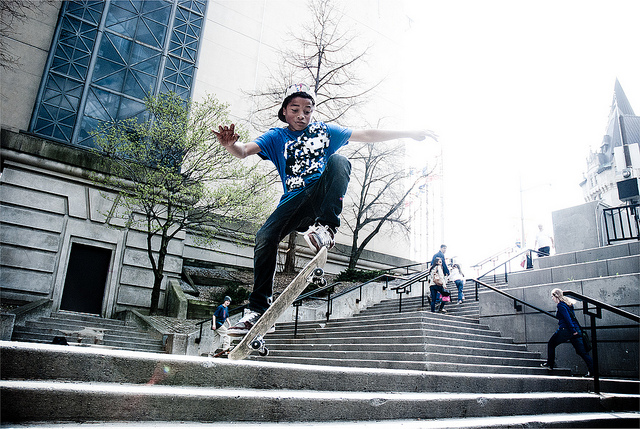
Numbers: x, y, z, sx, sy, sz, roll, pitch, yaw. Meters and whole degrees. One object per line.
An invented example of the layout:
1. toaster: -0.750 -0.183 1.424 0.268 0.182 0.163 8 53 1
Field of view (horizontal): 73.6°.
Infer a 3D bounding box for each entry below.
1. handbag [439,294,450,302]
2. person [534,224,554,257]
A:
1. handbag: 3.825 2.575 13.190 0.171 0.195 0.466 -2 -18 4
2. person: 8.081 0.949 15.524 0.502 1.030 0.372 9 -1 26
